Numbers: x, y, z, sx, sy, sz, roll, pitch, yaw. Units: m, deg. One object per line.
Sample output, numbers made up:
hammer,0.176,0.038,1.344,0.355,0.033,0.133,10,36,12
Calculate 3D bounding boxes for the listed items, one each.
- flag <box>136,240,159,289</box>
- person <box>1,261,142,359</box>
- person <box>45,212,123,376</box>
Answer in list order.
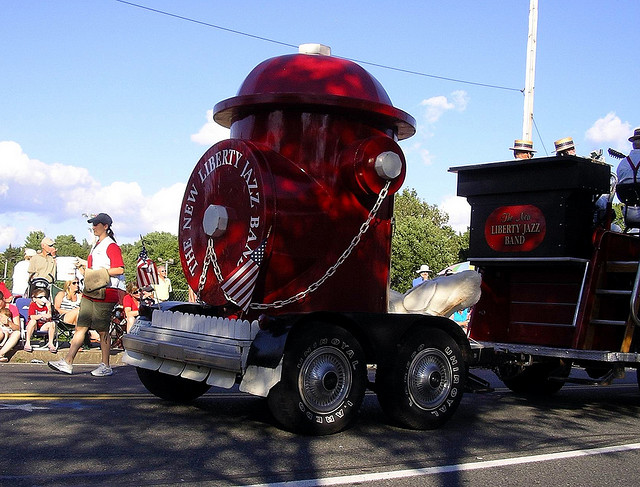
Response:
flag,-3.189,0.353,9.472,0.356,0.914,0.299,-9,18,-28
person,-4.930,1.359,10.266,2.250,1.192,1.202,2,-6,-30
person,-3.443,0.785,7.888,0.938,2.474,0.435,-3,-2,17
